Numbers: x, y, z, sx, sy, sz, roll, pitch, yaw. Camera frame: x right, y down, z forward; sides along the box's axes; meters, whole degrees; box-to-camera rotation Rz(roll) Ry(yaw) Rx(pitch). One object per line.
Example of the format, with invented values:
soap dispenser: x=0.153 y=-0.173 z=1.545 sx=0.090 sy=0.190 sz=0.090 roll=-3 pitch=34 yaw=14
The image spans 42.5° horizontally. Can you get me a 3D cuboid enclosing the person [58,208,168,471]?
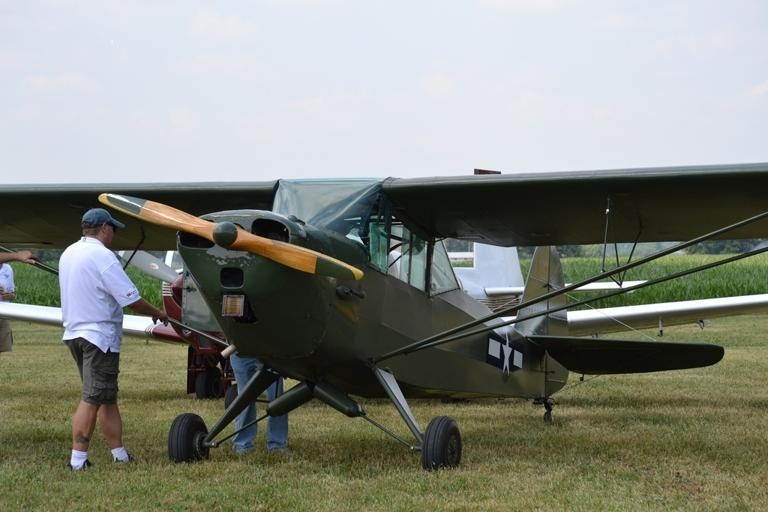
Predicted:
person: x=-2.802 y=0.941 z=9.709 sx=0.816 sy=2.268 sz=0.334 roll=1 pitch=-4 yaw=-17

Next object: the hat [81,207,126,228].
hat: x=-2.820 y=-0.376 z=9.984 sx=0.455 sy=0.214 sz=0.282 roll=-4 pitch=5 yaw=-36

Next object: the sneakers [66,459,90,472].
sneakers: x=-2.961 y=2.008 z=9.568 sx=0.225 sy=0.126 sz=0.193 roll=2 pitch=-4 yaw=-17
